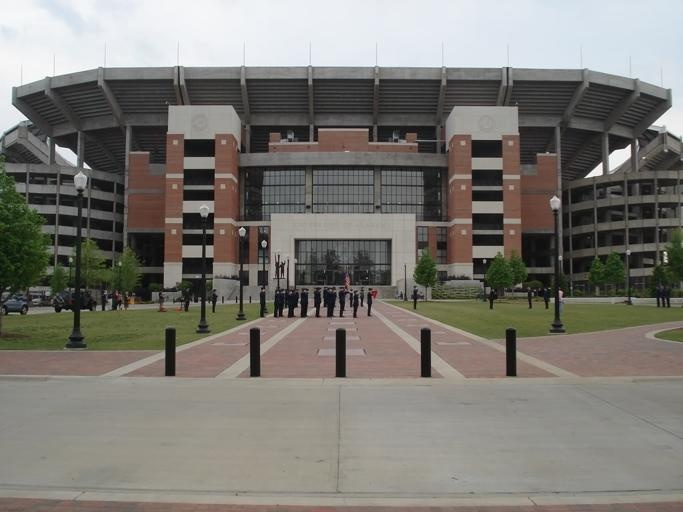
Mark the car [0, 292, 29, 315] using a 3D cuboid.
[{"bbox_3d":[-21.668,3.159,54.686,1.392,1.137,2.182,-1,-10,-2],"label":"car"}]

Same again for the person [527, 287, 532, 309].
[{"bbox_3d":[13.951,3.123,60.268,0.421,1.557,1.370,1,-4,14],"label":"person"}]

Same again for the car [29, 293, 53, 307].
[{"bbox_3d":[-28.991,4.277,78.689,1.873,1.490,3.123,2,-6,-28],"label":"car"}]
